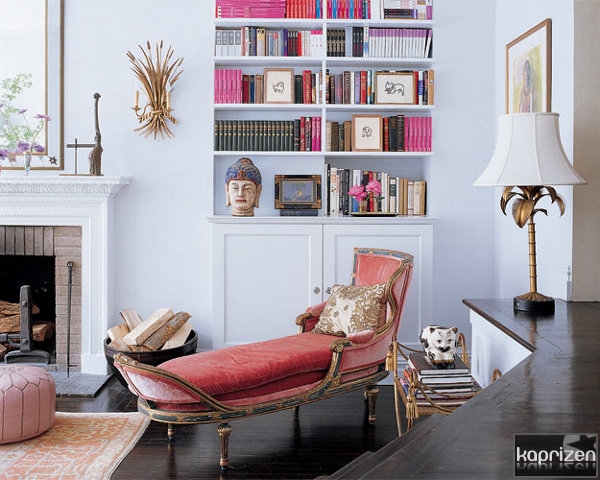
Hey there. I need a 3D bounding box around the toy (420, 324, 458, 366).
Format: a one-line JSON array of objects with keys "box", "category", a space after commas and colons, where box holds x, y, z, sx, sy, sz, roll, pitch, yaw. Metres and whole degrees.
[{"box": [0.747, 0.562, 3.845, 0.144, 0.158, 0.230, 0, -3, -2], "category": "toy"}]

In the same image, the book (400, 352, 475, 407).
[{"box": [0.740, 0.735, 3.736, 0.267, 0.130, 0.267, -1, 4, -3], "category": "book"}]

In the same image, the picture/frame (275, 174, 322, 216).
[{"box": [-0.003, -0.332, 5.296, 0.294, 0.254, 0.105, 0, -3, 3], "category": "picture/frame"}]

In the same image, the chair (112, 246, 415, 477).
[{"box": [-0.104, 0.645, 4.778, 2.170, 1.301, 0.931, -2, 2, -39], "category": "chair"}]

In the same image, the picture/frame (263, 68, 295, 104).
[{"box": [-0.150, -1.123, 5.232, 0.251, 0.290, 0.040, 0, -3, 1], "category": "picture/frame"}]

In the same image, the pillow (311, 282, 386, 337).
[{"box": [0.332, 0.452, 4.554, 0.383, 0.357, 0.113, 3, -25, 46], "category": "pillow"}]

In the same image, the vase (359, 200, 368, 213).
[{"box": [0.467, -0.243, 5.237, 0.081, 0.154, 0.079, 0, 1, 7], "category": "vase"}]

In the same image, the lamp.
[{"box": [1.339, -0.163, 3.951, 0.740, 1.068, 0.491, -8, 16, -33], "category": "lamp"}]

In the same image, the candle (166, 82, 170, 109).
[{"box": [-0.971, -1.069, 5.287, 0.034, 0.173, 0.131, -2, 14, -10], "category": "candle"}]

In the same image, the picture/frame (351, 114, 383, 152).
[{"box": [0.494, -0.778, 5.252, 0.265, 0.312, 0.041, 0, 3, 3], "category": "picture/frame"}]

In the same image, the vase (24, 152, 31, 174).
[{"box": [-2.010, -0.564, 5.282, 0.060, 0.172, 0.249, -4, 15, -21], "category": "vase"}]

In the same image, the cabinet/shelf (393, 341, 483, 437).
[{"box": [0.724, 0.768, 3.897, 0.479, 0.275, 0.594, -1, 5, 3], "category": "cabinet/shelf"}]

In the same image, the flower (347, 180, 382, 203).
[{"box": [0.478, -0.352, 5.213, 0.235, 0.165, 0.212, 2, 14, 5], "category": "flower"}]
